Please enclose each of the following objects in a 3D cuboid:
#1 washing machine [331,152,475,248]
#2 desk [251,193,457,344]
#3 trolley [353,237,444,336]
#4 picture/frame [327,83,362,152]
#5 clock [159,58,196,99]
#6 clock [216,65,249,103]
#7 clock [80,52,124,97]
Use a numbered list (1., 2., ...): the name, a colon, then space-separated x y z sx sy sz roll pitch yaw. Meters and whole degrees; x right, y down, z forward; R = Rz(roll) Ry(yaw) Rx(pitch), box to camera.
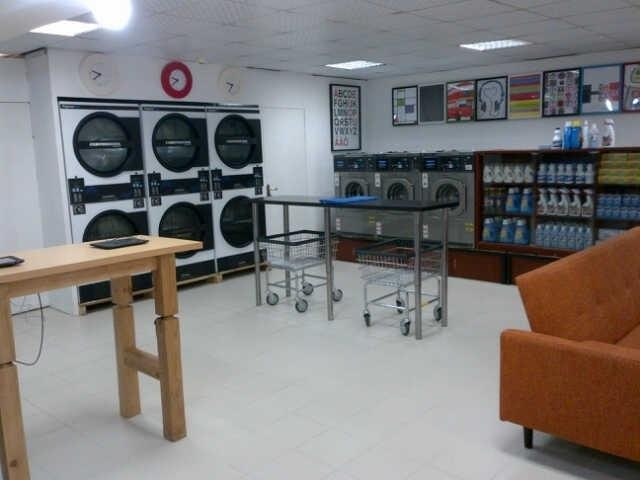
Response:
1. washing machine: 1.302 -0.600 6.680 1.500 1.023 0.535 3 5 41
2. desk: 0.314 0.229 5.482 2.320 1.468 0.951 5 11 34
3. trolley: 0.845 0.390 5.224 1.168 1.247 0.973 4 11 43
4. picture/frame: 0.424 -2.340 8.466 0.075 1.829 1.216 3 7 40
5. clock: -2.017 -2.269 6.303 0.067 0.530 0.505 2 11 40
6. clock: -1.324 -2.362 6.874 0.109 0.521 0.493 6 13 43
7. clock: -2.769 -2.083 5.687 0.430 0.454 0.432 10 -5 -27
